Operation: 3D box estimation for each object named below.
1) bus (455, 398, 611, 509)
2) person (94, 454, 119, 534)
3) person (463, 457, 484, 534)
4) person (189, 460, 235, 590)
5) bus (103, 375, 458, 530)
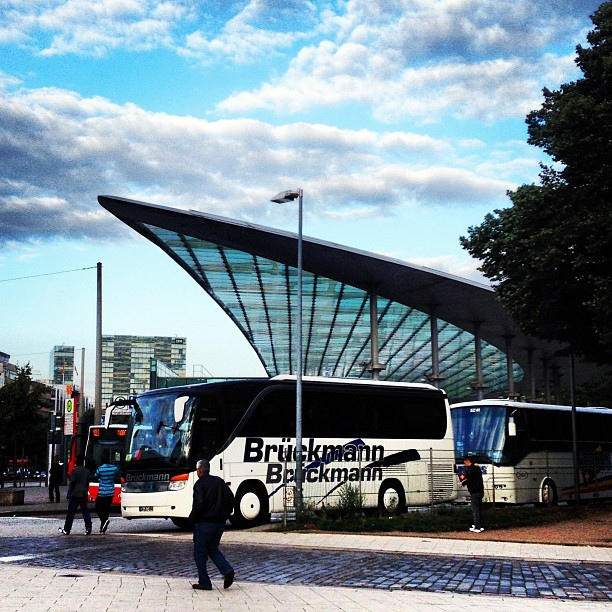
[{"bbox_3d":[8.303,5.157,28.329,4.159,3.867,9.502,-10,-13,42],"label":"bus"},{"bbox_3d":[-4.594,4.414,18.334,0.558,1.564,1.473,1,-10,-15],"label":"person"},{"bbox_3d":[3.896,4.377,18.424,0.375,1.683,0.702,-3,-10,10],"label":"person"},{"bbox_3d":[-1.150,2.646,9.604,0.532,1.514,0.659,0,-10,-5],"label":"person"},{"bbox_3d":[-0.295,3.854,21.898,3.380,3.656,12.077,-8,-13,42],"label":"bus"}]
